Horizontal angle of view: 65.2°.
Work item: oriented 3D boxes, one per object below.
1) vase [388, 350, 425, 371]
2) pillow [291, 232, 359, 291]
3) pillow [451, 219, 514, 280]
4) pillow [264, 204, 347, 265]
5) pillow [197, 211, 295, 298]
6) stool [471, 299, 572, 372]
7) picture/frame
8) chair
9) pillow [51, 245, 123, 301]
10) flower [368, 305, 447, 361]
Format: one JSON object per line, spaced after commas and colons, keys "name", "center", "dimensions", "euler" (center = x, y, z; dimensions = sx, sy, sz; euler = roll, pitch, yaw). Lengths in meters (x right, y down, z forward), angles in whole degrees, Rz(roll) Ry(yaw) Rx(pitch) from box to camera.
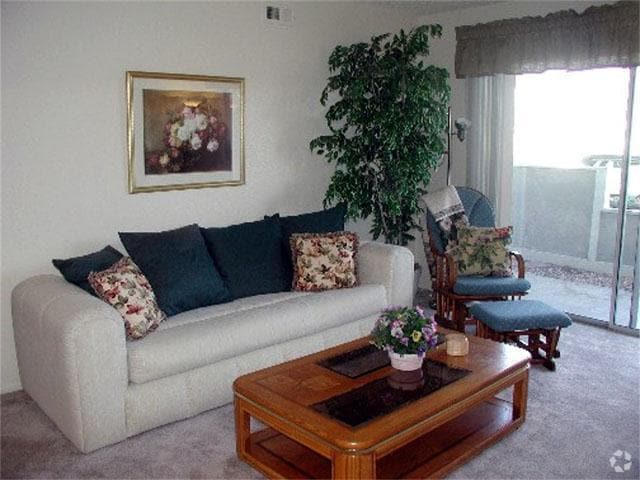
{"name": "vase", "center": [0.509, 0.713, 2.968], "dimensions": [0.137, 0.062, 0.138], "euler": [0, 0, 15]}
{"name": "pillow", "center": [0.024, 0.198, 4.195], "dimensions": [0.412, 0.416, 0.102], "euler": [-4, -12, -11]}
{"name": "pillow", "center": [1.474, 0.105, 4.588], "dimensions": [0.472, 0.476, 0.183], "euler": [5, -13, 16]}
{"name": "pillow", "center": [-0.056, -0.099, 4.422], "dimensions": [0.542, 0.543, 0.161], "euler": [-8, -6, -33]}
{"name": "pillow", "center": [-0.568, 0.149, 4.070], "dimensions": [0.661, 0.638, 0.204], "euler": [-15, -4, -36]}
{"name": "stool", "center": [1.554, 0.687, 3.929], "dimensions": [0.525, 0.457, 0.643], "euler": [-4, 10, -14]}
{"name": "picture/frame", "center": [-1.161, -0.909, 4.176], "dimensions": [1.019, 0.933, 0.067], "euler": [-5, 9, -36]}
{"name": "chair", "center": [1.477, 0.193, 4.633], "dimensions": [0.770, 1.265, 0.937], "euler": [-1, 5, 10]}
{"name": "pillow", "center": [-1.555, 0.190, 3.451], "dimensions": [0.340, 0.111, 0.332], "euler": [14, 23, 31]}
{"name": "flower", "center": [0.540, 0.543, 3.055], "dimensions": [0.380, 0.286, 0.391], "euler": [-5, -9, 10]}
